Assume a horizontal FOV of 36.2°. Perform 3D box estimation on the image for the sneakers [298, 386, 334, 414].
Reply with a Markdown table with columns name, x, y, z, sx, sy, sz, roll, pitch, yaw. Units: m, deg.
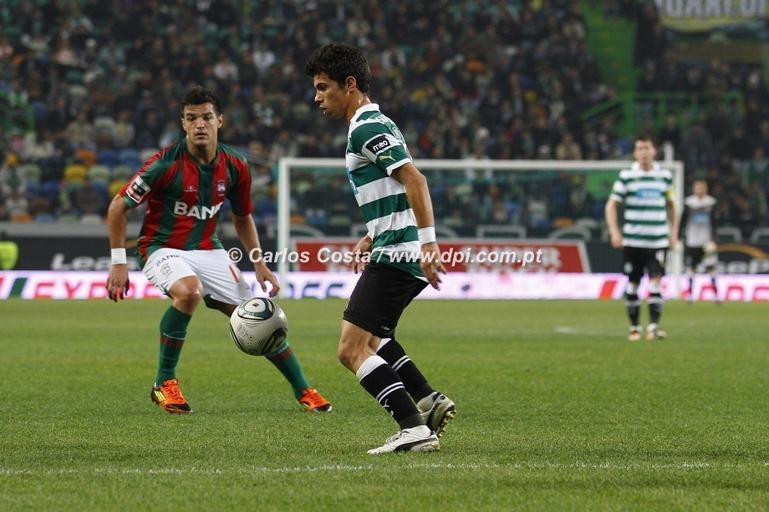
| name | x | y | z | sx | sy | sz | roll | pitch | yaw |
| --- | --- | --- | --- | --- | --- | --- | --- | --- | --- |
| sneakers | -0.797 | 1.737 | 13.907 | 0.396 | 0.208 | 0.167 | 34 | -25 | 31 |

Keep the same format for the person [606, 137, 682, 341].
| name | x | y | z | sx | sy | sz | roll | pitch | yaw |
| --- | --- | --- | --- | --- | --- | --- | --- | --- | --- |
| person | 3.630 | -0.224 | 16.671 | 0.904 | 2.780 | 0.967 | 6 | 16 | 24 |

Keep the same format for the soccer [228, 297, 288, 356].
| name | x | y | z | sx | sy | sz | roll | pitch | yaw |
| --- | --- | --- | --- | --- | --- | --- | --- | --- | --- |
| soccer | -1.411 | 0.824 | 13.774 | 0.676 | 0.654 | 0.685 | -4 | -21 | 29 |
